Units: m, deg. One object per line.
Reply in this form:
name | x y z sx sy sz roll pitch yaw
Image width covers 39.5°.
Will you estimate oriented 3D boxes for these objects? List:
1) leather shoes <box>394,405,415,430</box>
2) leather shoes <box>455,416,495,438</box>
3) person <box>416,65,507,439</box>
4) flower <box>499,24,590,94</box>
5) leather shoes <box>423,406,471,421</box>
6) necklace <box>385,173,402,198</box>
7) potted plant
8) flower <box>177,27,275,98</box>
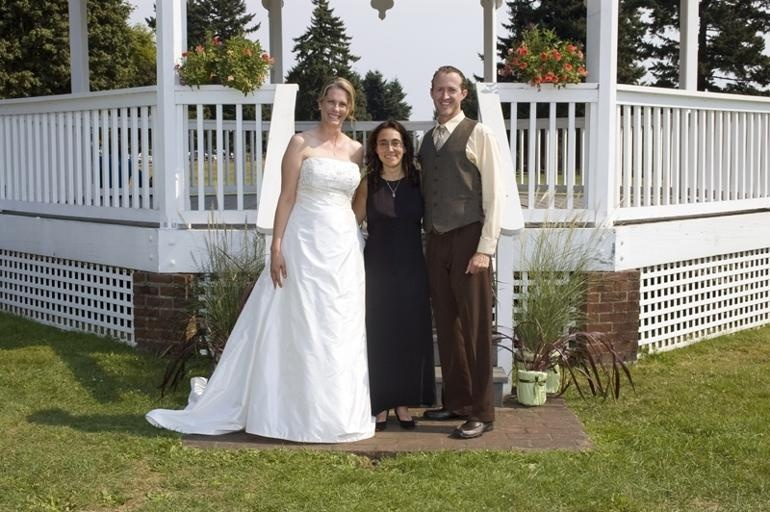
leather shoes | 0.201 1.667 10.985 0.116 0.137 0.329 0 1 -21
leather shoes | 0.900 1.740 10.797 0.379 0.155 0.173 0 -3 -40
person | 0.756 -0.034 10.764 0.833 3.708 0.357 1 5 11
flower | 1.853 -2.257 12.549 0.923 0.862 1.068 5 2 32
leather shoes | 0.642 1.659 11.024 0.467 0.197 0.163 6 -4 -2
necklace | 0.094 -0.680 10.875 0.145 0.183 0.057 0 5 -2
potted plant | 1.892 0.569 12.357 1.754 2.103 1.885 0 1 -7
flower | -1.854 -2.104 12.420 0.732 0.617 0.832 5 -7 -18
